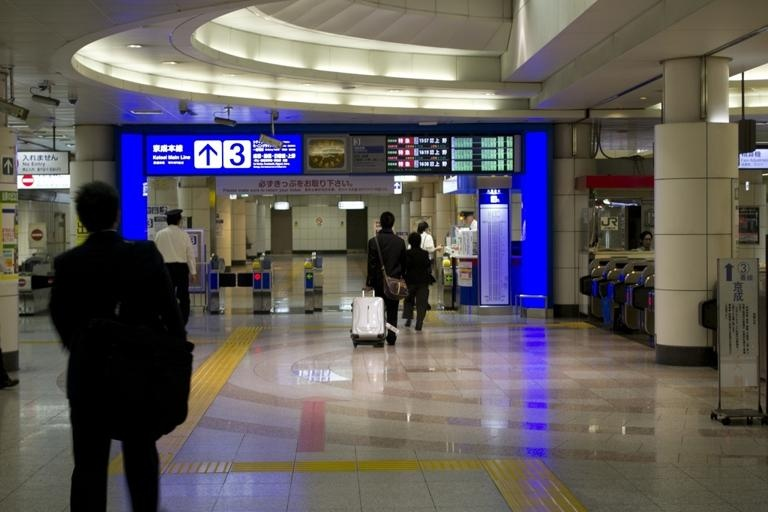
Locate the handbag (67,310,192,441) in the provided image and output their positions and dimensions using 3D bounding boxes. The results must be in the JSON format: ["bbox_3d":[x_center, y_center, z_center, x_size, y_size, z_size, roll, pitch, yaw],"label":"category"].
[{"bbox_3d":[-1.749,0.859,4.869,0.994,0.856,0.723,0,1,-12],"label":"handbag"}]

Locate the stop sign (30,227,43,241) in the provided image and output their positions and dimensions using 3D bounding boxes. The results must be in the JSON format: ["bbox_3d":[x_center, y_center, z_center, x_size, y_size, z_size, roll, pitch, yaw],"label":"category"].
[{"bbox_3d":[-8.562,-0.524,15.831,0.265,0.299,0.276,-3,5,-29],"label":"stop sign"}]

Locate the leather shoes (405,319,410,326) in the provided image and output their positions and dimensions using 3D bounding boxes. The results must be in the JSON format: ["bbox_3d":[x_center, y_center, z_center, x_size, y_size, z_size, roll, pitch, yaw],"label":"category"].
[{"bbox_3d":[0.487,1.362,13.100,0.103,0.120,0.134,-15,-24,34],"label":"leather shoes"}]

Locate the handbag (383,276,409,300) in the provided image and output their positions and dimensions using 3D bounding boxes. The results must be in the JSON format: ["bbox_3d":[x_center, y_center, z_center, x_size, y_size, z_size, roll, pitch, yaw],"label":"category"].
[{"bbox_3d":[0.189,0.549,10.968,0.447,0.405,0.224,3,-8,-19],"label":"handbag"}]

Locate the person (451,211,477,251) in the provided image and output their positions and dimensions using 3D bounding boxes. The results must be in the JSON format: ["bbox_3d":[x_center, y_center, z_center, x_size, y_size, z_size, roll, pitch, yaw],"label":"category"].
[{"bbox_3d":[2.106,-0.649,16.608,0.448,0.461,1.449,-3,26,-1],"label":"person"}]

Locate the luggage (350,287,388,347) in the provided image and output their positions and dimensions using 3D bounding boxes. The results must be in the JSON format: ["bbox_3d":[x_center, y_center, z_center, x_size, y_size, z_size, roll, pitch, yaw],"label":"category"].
[{"bbox_3d":[-0.240,1.033,11.280,0.683,0.921,0.576,3,-7,-10],"label":"luggage"}]
